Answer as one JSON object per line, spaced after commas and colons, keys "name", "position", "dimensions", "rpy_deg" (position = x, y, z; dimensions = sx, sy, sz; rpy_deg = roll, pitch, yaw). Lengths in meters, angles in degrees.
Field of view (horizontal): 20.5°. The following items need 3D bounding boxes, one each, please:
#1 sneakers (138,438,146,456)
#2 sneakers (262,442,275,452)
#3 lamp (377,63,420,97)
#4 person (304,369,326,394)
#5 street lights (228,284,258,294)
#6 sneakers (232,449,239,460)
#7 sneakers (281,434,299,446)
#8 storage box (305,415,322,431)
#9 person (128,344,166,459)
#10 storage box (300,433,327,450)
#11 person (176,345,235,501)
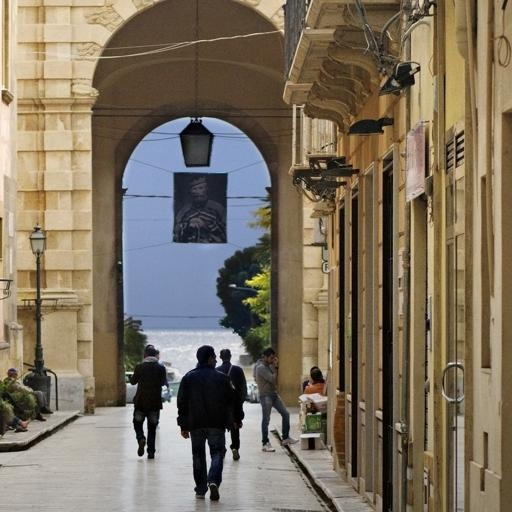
{"name": "sneakers", "position": [-1.658, 2.786, 20.713], "dimensions": [0.089, 0.296, 0.104], "rpy_deg": [6, 1, -9]}
{"name": "sneakers", "position": [0.209, 2.995, 22.206], "dimensions": [0.080, 0.119, 0.247], "rpy_deg": [3, -5, -19]}
{"name": "lamp", "position": [1.456, -1.780, 14.169], "dimensions": [0.280, 0.246, 0.536], "rpy_deg": [1, -6, -26]}
{"name": "person", "position": [0.956, 2.027, 23.053], "dimensions": [0.332, 0.441, 1.050], "rpy_deg": [-2, -6, 3]}
{"name": "street lights", "position": [-0.440, 1.262, 54.476], "dimensions": [0.206, 0.214, 1.596], "rpy_deg": [-9, 13, -40]}
{"name": "sneakers", "position": [-0.293, 2.903, 20.783], "dimensions": [0.058, 0.176, 0.068], "rpy_deg": [-5, -5, 3]}
{"name": "sneakers", "position": [0.549, 2.985, 23.055], "dimensions": [0.266, 0.140, 0.106], "rpy_deg": [-1, 4, -4]}
{"name": "storage box", "position": [0.921, 2.632, 22.470], "dimensions": [0.275, 0.277, 0.290], "rpy_deg": [-3, -5, 7]}
{"name": "person", "position": [-1.579, 2.133, 20.984], "dimensions": [0.525, 1.674, 1.167], "rpy_deg": [-1, -5, -5]}
{"name": "storage box", "position": [0.901, 2.890, 22.218], "dimensions": [0.393, 0.255, 0.336], "rpy_deg": [-2, -5, 2]}
{"name": "person", "position": [-0.606, 2.023, 17.383], "dimensions": [0.691, 1.813, 0.419], "rpy_deg": [-2, -5, -2]}
